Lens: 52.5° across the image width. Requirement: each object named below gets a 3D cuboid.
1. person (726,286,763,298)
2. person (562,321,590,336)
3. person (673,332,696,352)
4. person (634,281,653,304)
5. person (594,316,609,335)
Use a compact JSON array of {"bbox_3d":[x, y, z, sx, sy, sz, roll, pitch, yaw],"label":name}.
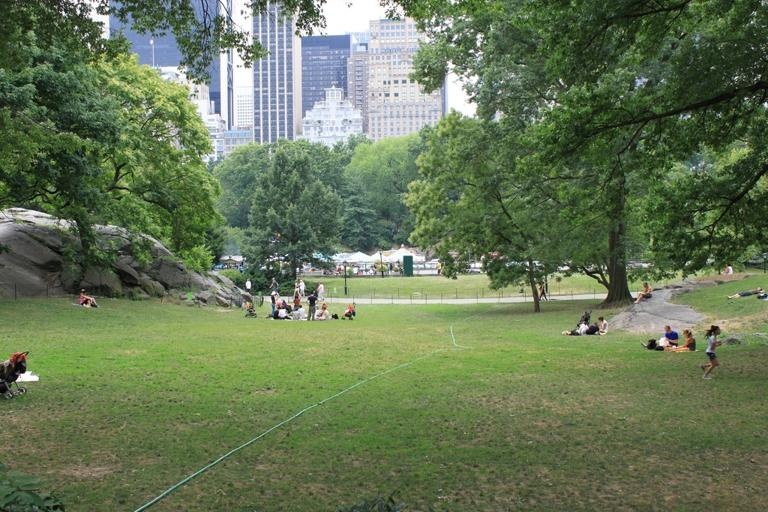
[{"bbox_3d":[18.613,1.940,39.940,1.571,0.282,0.669,-16,22,3],"label":"person"},{"bbox_3d":[9.126,3.416,37.135,1.269,0.613,1.096,-1,-4,11],"label":"person"},{"bbox_3d":[11.969,3.351,30.996,0.718,0.842,1.335,-2,-4,22],"label":"person"},{"bbox_3d":[14.174,1.975,42.595,0.606,1.032,2.603,-2,-4,21],"label":"person"},{"bbox_3d":[10.437,3.348,37.386,0.929,1.135,0.893,-2,-3,8],"label":"person"}]
